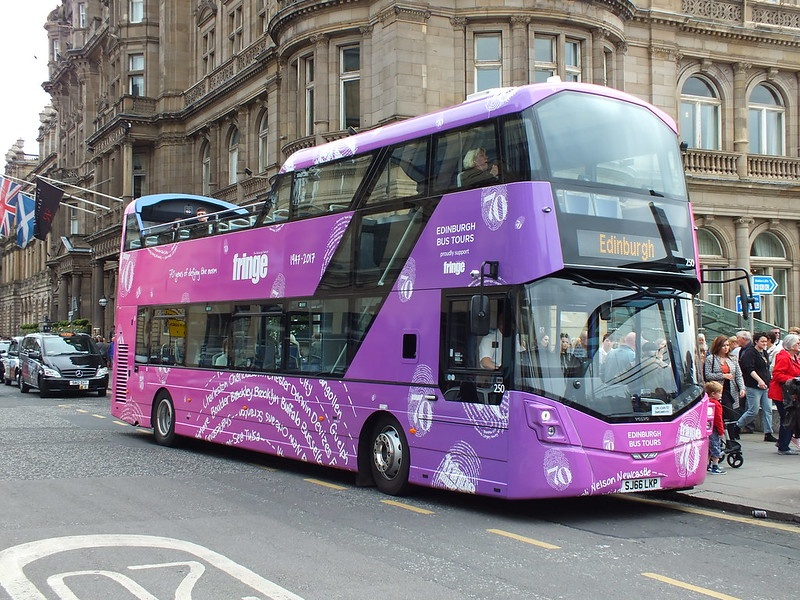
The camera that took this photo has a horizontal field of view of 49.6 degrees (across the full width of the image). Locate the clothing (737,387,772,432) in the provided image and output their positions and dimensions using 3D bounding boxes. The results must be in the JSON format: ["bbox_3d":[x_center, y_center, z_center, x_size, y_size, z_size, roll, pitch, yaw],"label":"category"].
[{"bbox_3d":[6.917,2.068,17.077,0.686,1.237,0.364,3,16,37],"label":"clothing"}]

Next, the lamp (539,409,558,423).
[{"bbox_3d":[1.874,1.498,11.119,0.183,0.213,0.157,-7,6,-5],"label":"lamp"}]

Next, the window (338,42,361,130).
[{"bbox_3d":[-1.759,-7.337,30.191,0.758,3.777,0.273,-3,-24,4],"label":"window"}]

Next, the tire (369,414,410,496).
[{"bbox_3d":[-0.146,2.309,12.883,0.289,1.172,0.889,0,12,-30],"label":"tire"}]

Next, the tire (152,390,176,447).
[{"bbox_3d":[-4.949,2.508,18.276,0.267,0.990,0.812,0,-22,-37],"label":"tire"}]

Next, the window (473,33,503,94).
[{"bbox_3d":[2.869,-7.876,28.849,1.026,2.396,0.238,-1,-17,6],"label":"window"}]

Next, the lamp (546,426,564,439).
[{"bbox_3d":[1.953,1.681,11.069,0.158,0.205,0.183,2,1,-20],"label":"lamp"}]

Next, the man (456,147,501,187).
[{"bbox_3d":[1.110,-1.808,11.951,0.562,0.535,0.366,-11,-5,31],"label":"man"}]

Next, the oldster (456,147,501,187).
[{"bbox_3d":[1.049,-1.823,11.852,0.138,0.534,0.735,-1,1,-38],"label":"oldster"}]

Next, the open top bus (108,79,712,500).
[{"bbox_3d":[-0.422,0.026,16.901,4.693,6.804,13.115,1,-2,-37],"label":"open top bus"}]

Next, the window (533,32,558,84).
[{"bbox_3d":[4.809,-8.149,29.120,0.738,1.545,0.520,0,1,2],"label":"window"}]

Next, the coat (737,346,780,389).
[{"bbox_3d":[6.906,1.325,16.858,0.589,1.295,1.057,-4,-3,29],"label":"coat"}]
